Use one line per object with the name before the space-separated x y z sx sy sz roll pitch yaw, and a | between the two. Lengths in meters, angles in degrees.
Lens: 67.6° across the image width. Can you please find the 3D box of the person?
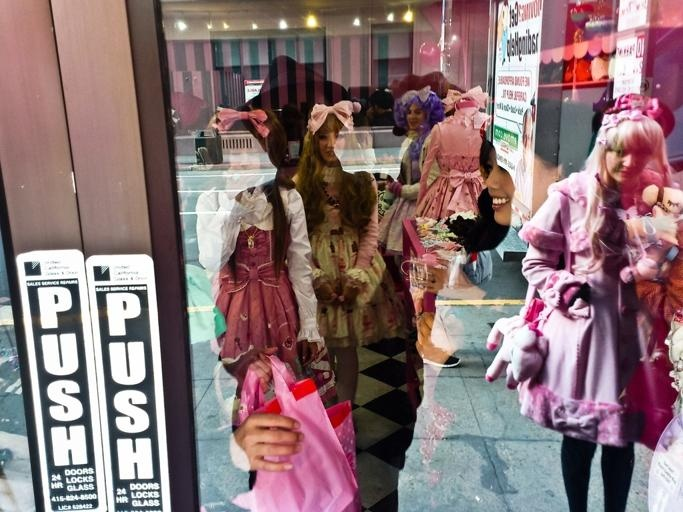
person | 0.191 0.236 1.766 0.931 1.094 1.565 -3 9 7

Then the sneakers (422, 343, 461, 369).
sneakers | 0.276 0.287 1.437 0.038 0.054 0.109 -24 8 -35
